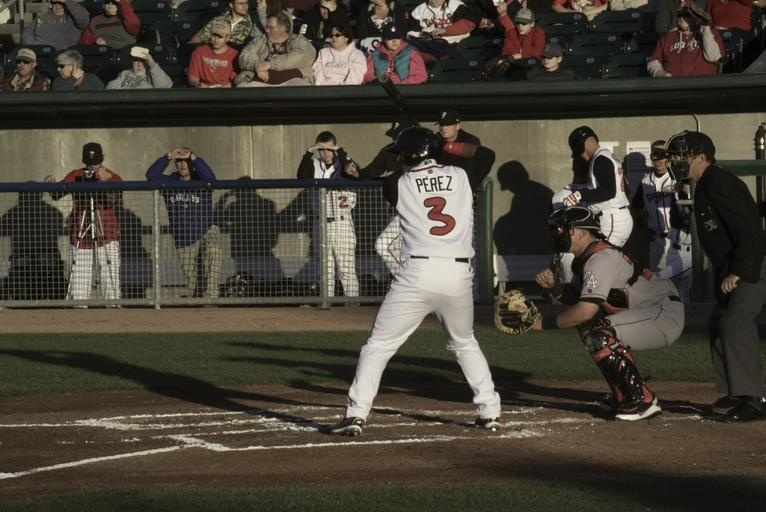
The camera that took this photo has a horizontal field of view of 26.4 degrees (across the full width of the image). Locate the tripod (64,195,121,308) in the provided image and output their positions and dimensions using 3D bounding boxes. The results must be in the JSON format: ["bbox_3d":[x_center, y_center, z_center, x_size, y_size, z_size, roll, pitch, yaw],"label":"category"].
[{"bbox_3d":[-4.284,-0.142,24.027,0.795,1.374,0.236,-2,1,-8],"label":"tripod"}]

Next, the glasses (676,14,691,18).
[{"bbox_3d":[4.565,-3.652,24.836,0.105,0.057,0.248,-2,1,-39],"label":"glasses"}]

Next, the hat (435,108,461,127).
[{"bbox_3d":[0.928,-1.933,23.034,0.301,0.139,0.202,2,8,-8],"label":"hat"}]

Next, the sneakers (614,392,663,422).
[{"bbox_3d":[2.965,1.763,19.117,0.594,0.234,0.225,-5,19,-10],"label":"sneakers"}]

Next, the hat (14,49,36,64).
[{"bbox_3d":[-5.646,-3.154,25.721,0.268,0.164,0.343,2,-3,1],"label":"hat"}]

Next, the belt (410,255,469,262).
[{"bbox_3d":[0.640,0.032,18.780,0.690,0.066,0.094,-1,1,-8],"label":"belt"}]

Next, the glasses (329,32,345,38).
[{"bbox_3d":[-0.741,-3.366,24.951,0.226,0.069,0.111,-1,1,24],"label":"glasses"}]

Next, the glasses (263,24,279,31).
[{"bbox_3d":[-1.748,-3.504,25.125,0.145,0.067,0.129,-2,3,-25],"label":"glasses"}]

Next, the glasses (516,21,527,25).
[{"bbox_3d":[2.127,-3.597,25.279,0.078,0.049,0.125,-6,-13,34],"label":"glasses"}]

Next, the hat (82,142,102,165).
[{"bbox_3d":[-4.464,-1.536,24.711,0.287,0.267,0.361,-1,12,4],"label":"hat"}]

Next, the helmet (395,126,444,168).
[{"bbox_3d":[0.384,-1.266,18.933,0.585,0.410,0.404,2,9,15],"label":"helmet"}]

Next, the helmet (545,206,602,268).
[{"bbox_3d":[2.229,-0.318,19.368,0.684,0.498,0.493,2,2,1],"label":"helmet"}]

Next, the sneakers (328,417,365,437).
[{"bbox_3d":[-0.421,1.951,18.785,0.391,0.164,0.220,-1,1,-3],"label":"sneakers"}]

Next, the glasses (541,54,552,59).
[{"bbox_3d":[2.484,-3.017,24.853,0.176,0.066,0.104,1,2,-39],"label":"glasses"}]

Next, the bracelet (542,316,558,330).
[{"bbox_3d":[1.978,0.777,19.215,0.186,0.149,0.167,-3,-10,29],"label":"bracelet"}]

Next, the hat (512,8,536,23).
[{"bbox_3d":[2.180,-3.704,25.337,0.293,0.171,0.305,-1,1,4],"label":"hat"}]

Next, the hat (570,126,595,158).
[{"bbox_3d":[2.644,-1.553,22.260,0.243,0.444,0.317,38,22,-9],"label":"hat"}]

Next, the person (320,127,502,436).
[{"bbox_3d":[0.455,0.280,18.850,1.677,2.573,0.403,-1,1,1],"label":"person"}]

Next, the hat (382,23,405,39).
[{"bbox_3d":[0.131,-3.388,24.749,0.238,0.159,0.299,-7,12,-16],"label":"hat"}]

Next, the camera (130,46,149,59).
[{"bbox_3d":[-3.801,-3.140,25.371,0.270,0.173,0.372,-1,1,-5],"label":"camera"}]

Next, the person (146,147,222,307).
[{"bbox_3d":[-2.901,-0.479,24.222,1.091,1.771,0.693,-1,1,14],"label":"person"}]

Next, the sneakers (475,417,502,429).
[{"bbox_3d":[1.215,1.922,18.912,0.243,0.116,0.114,-7,13,35],"label":"sneakers"}]

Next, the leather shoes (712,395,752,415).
[{"bbox_3d":[4.100,1.735,19.082,0.532,0.188,0.157,5,50,-1],"label":"leather shoes"}]

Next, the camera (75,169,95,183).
[{"bbox_3d":[-4.519,-1.198,24.578,0.268,0.226,0.269,1,-1,25],"label":"camera"}]
